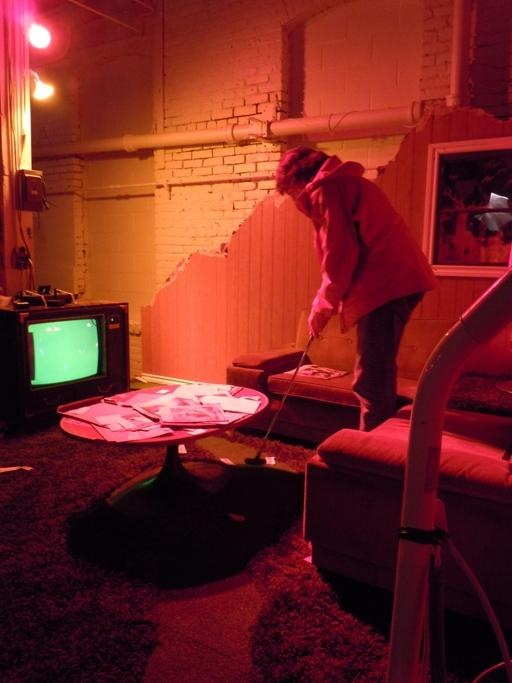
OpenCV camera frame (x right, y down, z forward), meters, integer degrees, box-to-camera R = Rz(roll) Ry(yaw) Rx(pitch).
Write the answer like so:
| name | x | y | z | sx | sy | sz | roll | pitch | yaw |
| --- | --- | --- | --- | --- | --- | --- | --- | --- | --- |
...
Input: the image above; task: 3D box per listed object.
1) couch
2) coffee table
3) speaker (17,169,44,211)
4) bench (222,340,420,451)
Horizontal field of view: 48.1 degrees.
| name | x | y | z | sx | sy | sz | roll | pitch | yaw |
| --- | --- | --- | --- | --- | --- | --- | --- | --- | --- |
| couch | 0.578 | 0.511 | 1.922 | 0.653 | 0.486 | 0.663 | 6 | 10 | 34 |
| coffee table | -0.400 | 0.474 | 2.515 | 0.802 | 0.396 | 0.937 | 5 | 10 | 29 |
| speaker | -1.538 | -1.032 | 3.954 | 0.200 | 0.274 | 0.141 | -7 | 11 | -39 |
| bench | 0.450 | 0.269 | 3.335 | 0.987 | 0.543 | 0.543 | 5 | 14 | 28 |
